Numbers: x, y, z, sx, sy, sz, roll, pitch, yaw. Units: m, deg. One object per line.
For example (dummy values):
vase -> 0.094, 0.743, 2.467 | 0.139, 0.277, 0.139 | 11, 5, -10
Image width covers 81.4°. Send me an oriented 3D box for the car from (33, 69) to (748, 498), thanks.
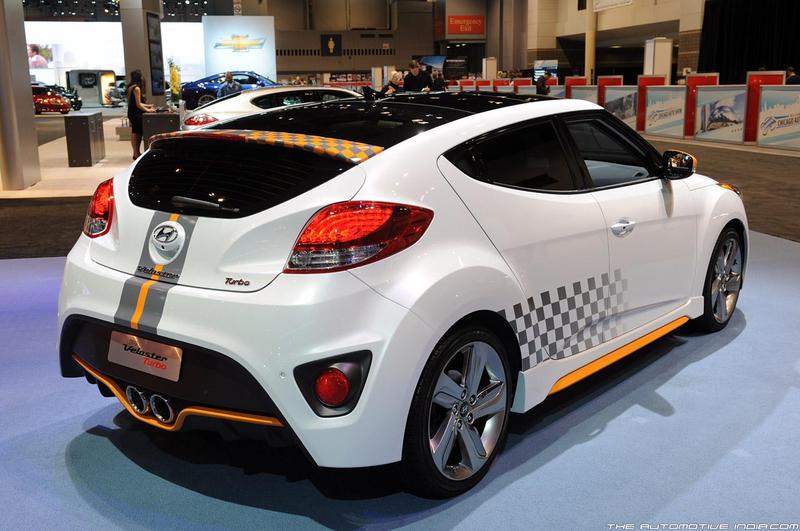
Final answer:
car -> 0.154, 0.019, 2.736 | 3.738, 1.977, 1.428 | -13, 20, -31
